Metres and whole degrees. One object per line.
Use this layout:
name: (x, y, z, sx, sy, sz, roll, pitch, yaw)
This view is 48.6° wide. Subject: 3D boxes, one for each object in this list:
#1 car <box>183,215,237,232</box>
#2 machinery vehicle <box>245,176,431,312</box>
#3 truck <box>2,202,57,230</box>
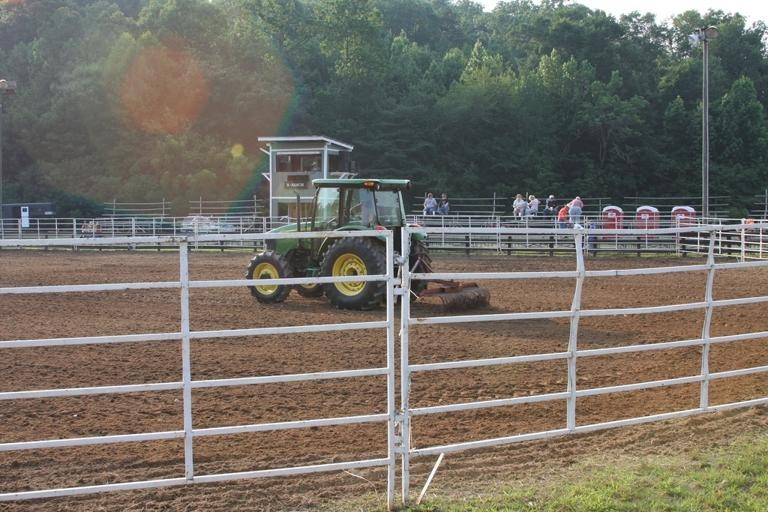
car: (-9.314, -1.646, 45.255, 2.656, 0.787, 1.599, 1, 1, -8)
machinery vehicle: (-1.044, -0.318, 20.956, 4.572, 2.621, 2.703, 3, 9, 40)
truck: (-20.960, -2.323, 50.162, 2.787, 1.432, 2.655, 0, 1, 22)
